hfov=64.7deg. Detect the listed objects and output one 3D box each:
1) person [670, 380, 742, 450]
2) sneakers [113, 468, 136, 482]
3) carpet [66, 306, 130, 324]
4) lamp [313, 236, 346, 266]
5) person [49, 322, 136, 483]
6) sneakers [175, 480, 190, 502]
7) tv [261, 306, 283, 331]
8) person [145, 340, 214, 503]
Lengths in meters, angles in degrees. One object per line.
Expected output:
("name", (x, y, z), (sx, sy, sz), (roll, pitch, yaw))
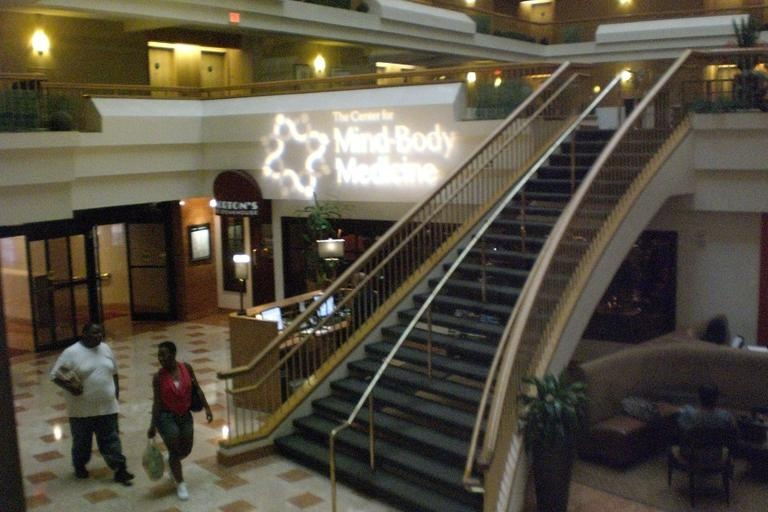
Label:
("person", (4.191, 2.119, 7.773), (0.476, 0.798, 0.821), (-8, -1, -44))
("sneakers", (-3.305, 2.811, 7.690), (0.298, 0.200, 0.110), (0, 4, 18))
("carpet", (-6.356, 1.332, 13.402), (0.648, 0.153, 0.587), (10, 24, 28))
("lamp", (-1.025, -0.067, 11.755), (0.479, 0.528, 0.609), (-3, 8, 0))
("person", (-3.653, 1.888, 7.591), (0.785, 2.037, 0.449), (-5, 8, -19))
("sneakers", (-2.473, 2.881, 7.427), (0.095, 0.110, 0.280), (-3, 7, -31))
("tv", (-1.799, 1.023, 9.711), (0.263, 0.356, 0.194), (-13, 9, 0))
("person", (-2.523, 1.999, 7.427), (0.719, 1.898, 0.582), (-5, 8, -20))
